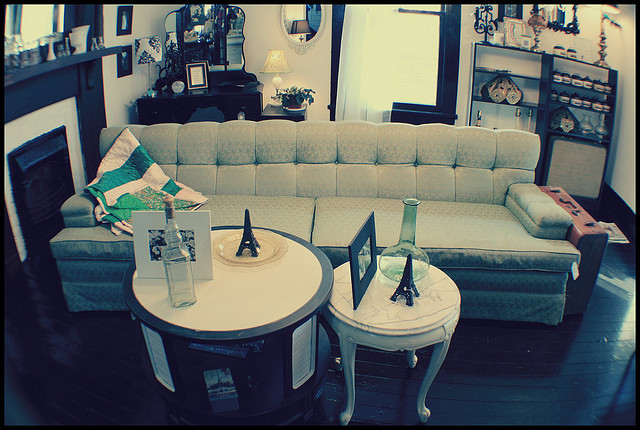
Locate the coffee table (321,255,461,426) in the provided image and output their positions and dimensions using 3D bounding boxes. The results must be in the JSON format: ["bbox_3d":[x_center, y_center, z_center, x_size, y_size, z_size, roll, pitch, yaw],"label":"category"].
[{"bbox_3d":[0.423,0.777,3.071,1.006,0.938,0.886,-2,37,0],"label":"coffee table"}]

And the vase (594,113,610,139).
[{"bbox_3d":[2.849,-0.899,4.704,0.138,0.252,0.222,9,18,29],"label":"vase"}]

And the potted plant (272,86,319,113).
[{"bbox_3d":[-0.276,-1.262,5.115,0.371,0.264,0.323,-4,15,-14],"label":"potted plant"}]

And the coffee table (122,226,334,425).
[{"bbox_3d":[-0.418,0.655,2.760,1.085,0.750,1.045,-17,33,-32],"label":"coffee table"}]

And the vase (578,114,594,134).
[{"bbox_3d":[2.720,-0.924,4.762,0.134,0.180,0.105,6,17,23],"label":"vase"}]

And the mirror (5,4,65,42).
[{"bbox_3d":[-2.147,-1.439,3.486,0.049,0.361,0.436,23,26,21],"label":"mirror"}]

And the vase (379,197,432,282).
[{"bbox_3d":[0.525,0.153,2.824,0.320,0.455,0.321,13,15,35],"label":"vase"}]

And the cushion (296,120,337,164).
[{"bbox_3d":[-0.022,-0.576,3.649,0.340,0.268,0.318,0,14,-2],"label":"cushion"}]

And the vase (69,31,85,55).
[{"bbox_3d":[-1.969,-1.403,3.801,0.115,0.176,0.082,-6,17,-19],"label":"vase"}]

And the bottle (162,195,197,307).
[{"bbox_3d":[-0.760,0.194,2.499,0.155,0.611,0.110,-6,17,-17],"label":"bottle"}]

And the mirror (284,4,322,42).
[{"bbox_3d":[-0.189,-2.235,5.381,0.452,0.483,0.036,0,23,-2],"label":"mirror"}]
